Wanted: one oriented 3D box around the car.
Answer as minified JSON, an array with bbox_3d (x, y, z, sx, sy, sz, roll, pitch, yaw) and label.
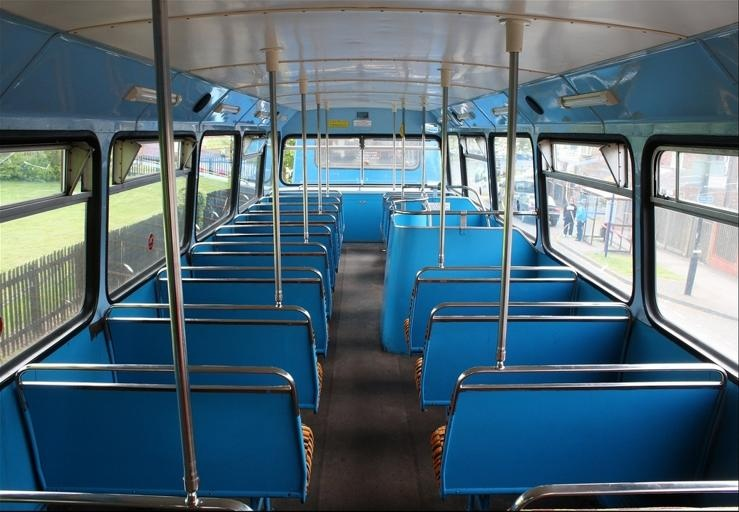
[{"bbox_3d":[2.023,-0.963,8.113,0.804,1.929,0.774,-2,-71,-3],"label":"car"}]
